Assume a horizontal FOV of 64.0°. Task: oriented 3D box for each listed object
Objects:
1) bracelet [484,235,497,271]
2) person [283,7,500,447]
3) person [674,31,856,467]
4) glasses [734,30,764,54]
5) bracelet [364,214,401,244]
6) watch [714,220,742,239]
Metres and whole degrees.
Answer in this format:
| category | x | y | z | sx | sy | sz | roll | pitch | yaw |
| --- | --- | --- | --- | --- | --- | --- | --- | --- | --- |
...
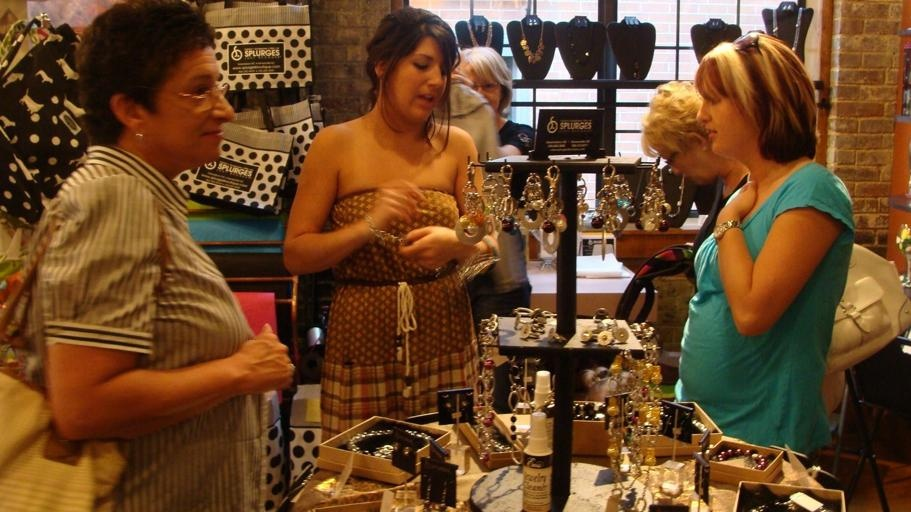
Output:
| category | x | y | z | sx | sy | sz | roll | pitch | yaw |
| --- | --- | --- | --- | --- | --- | --- | --- | --- | --- |
| bracelet | 0.138 | -0.022 | 2.711 | 0.039 | 0.091 | 0.073 | -2 | 15 | -5 |
| person | -0.238 | 0.017 | 2.700 | 0.766 | 1.327 | 0.362 | -4 | 8 | -13 |
| person | 1.083 | 0.002 | 2.556 | 0.570 | 1.542 | 0.338 | 0 | 9 | 14 |
| glasses | 1.013 | -0.738 | 2.482 | 0.092 | 0.025 | 0.091 | -44 | 21 | -20 |
| bracelet | -0.260 | -0.093 | 2.660 | 0.123 | 0.038 | 0.088 | 30 | -4 | -34 |
| watch | 0.956 | -0.099 | 2.564 | 0.075 | 0.038 | 0.072 | -25 | 7 | -22 |
